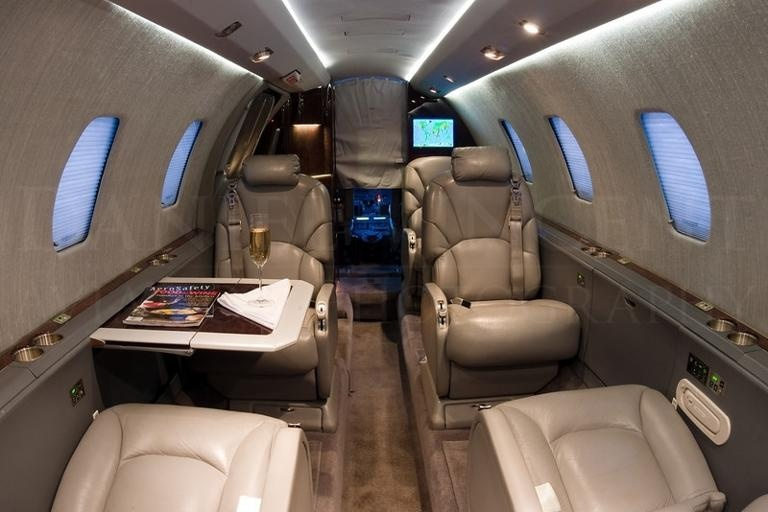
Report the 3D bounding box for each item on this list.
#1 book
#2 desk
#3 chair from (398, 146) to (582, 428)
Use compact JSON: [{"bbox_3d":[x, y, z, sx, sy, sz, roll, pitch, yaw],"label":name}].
[{"bbox_3d":[-1.222,0.290,2.802,0.272,0.280,0.285,2,30,-2],"label":"book"},{"bbox_3d":[-1.003,0.417,2.882,1.100,0.485,0.814,1,4,2],"label":"desk"},{"bbox_3d":[0.815,0.145,4.120,1.067,2.123,1.754,1,4,-4],"label":"chair"}]
